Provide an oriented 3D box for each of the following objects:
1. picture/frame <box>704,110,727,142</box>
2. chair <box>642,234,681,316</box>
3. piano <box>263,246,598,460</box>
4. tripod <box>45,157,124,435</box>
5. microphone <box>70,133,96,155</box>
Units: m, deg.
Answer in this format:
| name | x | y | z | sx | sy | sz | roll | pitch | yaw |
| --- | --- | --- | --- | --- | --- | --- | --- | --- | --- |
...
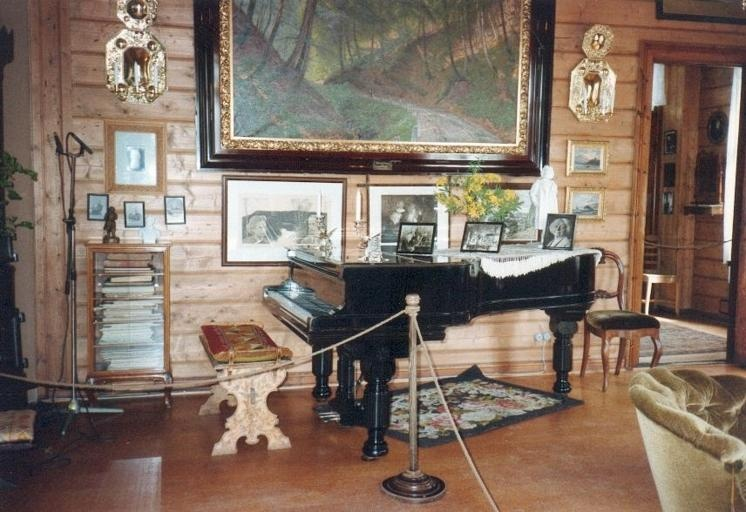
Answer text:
| name | x | y | z | sx | sy | sz | roll | pitch | yaw |
| --- | --- | --- | --- | --- | --- | --- | --- | --- | --- |
| picture/frame | 4.997 | -1.878 | 9.763 | 0.092 | 0.347 | 0.371 | 2 | 5 | -17 |
| chair | 4.240 | 0.313 | 9.920 | 0.657 | 0.898 | 0.643 | -6 | 1 | 9 |
| piano | 0.528 | 0.691 | 6.020 | 2.688 | 1.215 | 1.696 | -1 | 4 | -22 |
| tripod | -2.619 | 0.277 | 6.069 | 0.454 | 2.411 | 0.843 | -4 | 5 | -21 |
| microphone | -2.643 | -1.010 | 6.105 | 0.213 | 0.241 | 0.582 | -3 | 4 | -22 |
